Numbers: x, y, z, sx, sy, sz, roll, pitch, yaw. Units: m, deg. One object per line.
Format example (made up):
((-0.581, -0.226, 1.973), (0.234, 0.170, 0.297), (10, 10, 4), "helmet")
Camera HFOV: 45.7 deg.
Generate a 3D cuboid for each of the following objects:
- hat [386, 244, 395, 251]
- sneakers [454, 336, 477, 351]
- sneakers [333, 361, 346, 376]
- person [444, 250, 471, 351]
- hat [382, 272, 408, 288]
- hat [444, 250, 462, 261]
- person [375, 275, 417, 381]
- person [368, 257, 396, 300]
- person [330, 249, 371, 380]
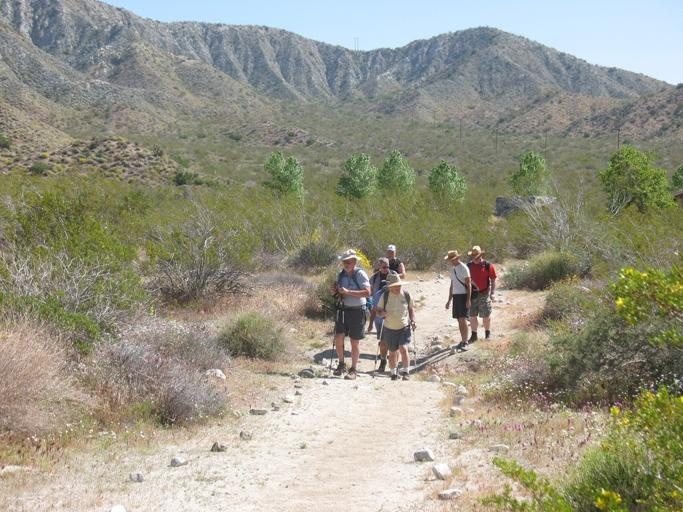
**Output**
((1.142, -0.209, 19.147), (0.187, 0.197, 0.343), (0, -4, 8), "hat")
((2.866, 2.052, 18.786), (0.207, 0.297, 0.623), (16, 30, 41), "sneakers")
((-0.041, 2.425, 17.349), (0.182, 0.315, 0.068), (18, 1, 32), "sneakers")
((2.739, 1.004, 19.170), (0.655, 2.175, 1.441), (5, 5, 9), "person")
((1.042, 0.541, 17.031), (0.308, 0.165, 0.324), (-8, 4, 38), "hat")
((3.020, -0.009, 22.367), (0.269, 0.130, 0.315), (-11, -4, -28), "hat")
((1.132, 1.492, 17.211), (0.794, 2.241, 0.573), (4, 4, 0), "person")
((0.851, 0.483, 18.339), (0.598, 1.612, 0.753), (2, 0, -3), "person")
((0.173, 1.215, 17.332), (0.749, 2.674, 0.784), (4, 4, 2), "person")
